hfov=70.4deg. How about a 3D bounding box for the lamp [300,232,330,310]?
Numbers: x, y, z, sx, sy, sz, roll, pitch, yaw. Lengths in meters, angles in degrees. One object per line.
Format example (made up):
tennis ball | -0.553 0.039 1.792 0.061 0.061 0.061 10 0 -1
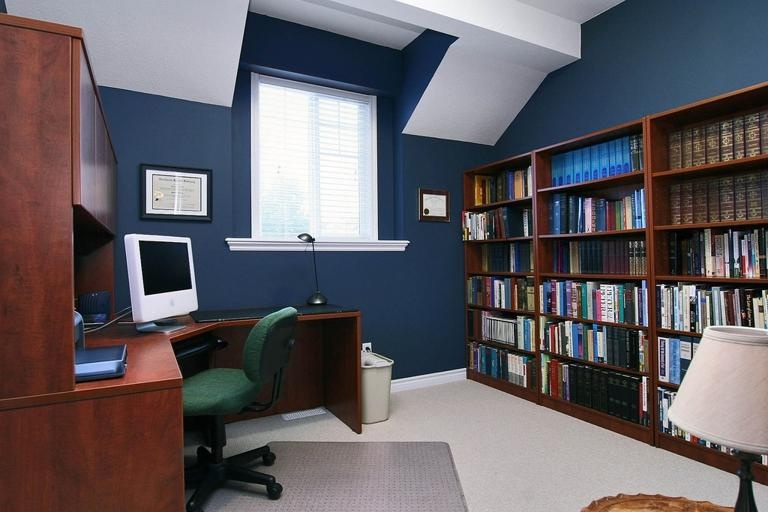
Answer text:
lamp | -0.595 0.094 4.478 0.202 0.580 0.372 -3 11 -9

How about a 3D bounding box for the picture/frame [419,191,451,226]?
picture/frame | 0.462 -0.455 5.111 0.341 0.290 0.033 2 -4 -31

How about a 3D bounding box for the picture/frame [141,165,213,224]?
picture/frame | -1.612 -0.474 4.147 0.472 0.394 0.036 2 -3 -28

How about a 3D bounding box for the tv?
tv | -1.442 0.188 3.507 0.227 0.696 0.654 -4 -3 14

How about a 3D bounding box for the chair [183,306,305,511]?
chair | -0.946 0.918 3.849 1.045 1.462 1.085 3 -4 -12

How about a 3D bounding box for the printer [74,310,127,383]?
printer | -1.407 0.357 2.681 0.286 0.367 0.552 -2 2 -24

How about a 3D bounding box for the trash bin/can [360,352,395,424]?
trash bin/can | -0.059 1.037 4.352 0.241 0.459 0.370 -1 10 0
